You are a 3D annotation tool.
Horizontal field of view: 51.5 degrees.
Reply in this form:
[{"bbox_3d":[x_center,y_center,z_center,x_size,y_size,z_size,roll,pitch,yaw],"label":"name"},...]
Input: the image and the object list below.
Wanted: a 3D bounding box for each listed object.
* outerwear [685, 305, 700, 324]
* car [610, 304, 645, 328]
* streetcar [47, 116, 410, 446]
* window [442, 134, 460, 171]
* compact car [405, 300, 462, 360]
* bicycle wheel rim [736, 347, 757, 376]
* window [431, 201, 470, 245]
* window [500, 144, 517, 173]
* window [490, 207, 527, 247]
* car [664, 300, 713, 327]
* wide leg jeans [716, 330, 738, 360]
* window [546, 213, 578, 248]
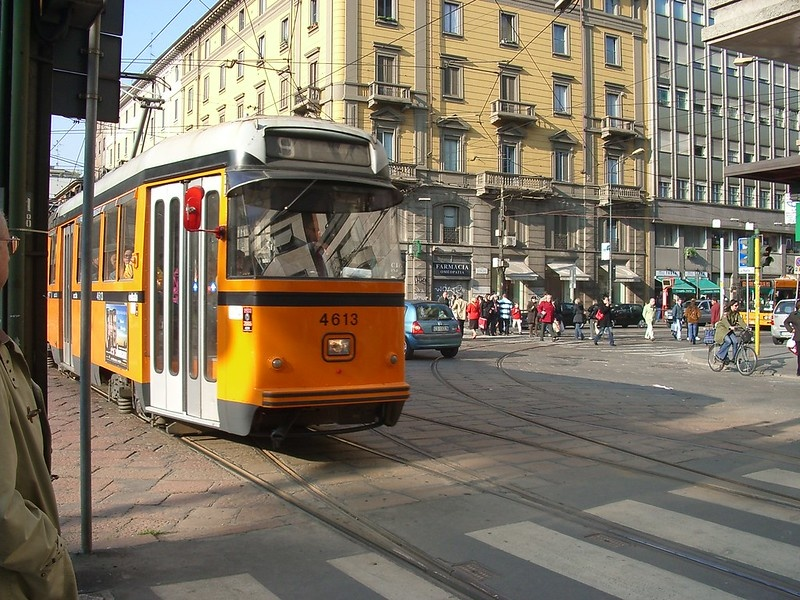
[{"bbox_3d":[10.144,0.462,28.658,0.415,0.635,0.826,2,3,15],"label":"outerwear"},{"bbox_3d":[11.388,0.737,41.481,2.241,1.084,1.188,3,-1,-18],"label":"car"},{"bbox_3d":[-1.883,-0.089,9.180,1.786,1.836,4.813,-3,4,-32],"label":"streetcar"},{"bbox_3d":[2.552,-7.226,40.340,1.216,1.737,0.176,-1,3,-35],"label":"window"},{"bbox_3d":[0.804,0.645,20.454,1.018,0.806,1.698,-2,7,-16],"label":"compact car"},{"bbox_3d":[7.691,1.330,18.356,0.393,0.586,0.681,2,3,13],"label":"bicycle wheel rim"},{"bbox_3d":[2.387,-3.835,40.276,2.246,2.078,0.235,-3,2,-38],"label":"window"},{"bbox_3d":[5.614,-7.352,42.401,1.083,1.438,0.302,-1,3,-39],"label":"window"},{"bbox_3d":[5.413,-3.828,41.884,2.337,2.614,0.211,-2,3,-34],"label":"window"},{"bbox_3d":[11.812,0.550,33.676,2.357,1.124,1.400,2,-2,-18],"label":"car"},{"bbox_3d":[7.422,1.056,18.822,0.462,0.690,0.214,3,3,31],"label":"wide leg jeans"},{"bbox_3d":[8.597,-3.799,44.295,1.933,2.177,0.313,-3,2,-35],"label":"window"}]
